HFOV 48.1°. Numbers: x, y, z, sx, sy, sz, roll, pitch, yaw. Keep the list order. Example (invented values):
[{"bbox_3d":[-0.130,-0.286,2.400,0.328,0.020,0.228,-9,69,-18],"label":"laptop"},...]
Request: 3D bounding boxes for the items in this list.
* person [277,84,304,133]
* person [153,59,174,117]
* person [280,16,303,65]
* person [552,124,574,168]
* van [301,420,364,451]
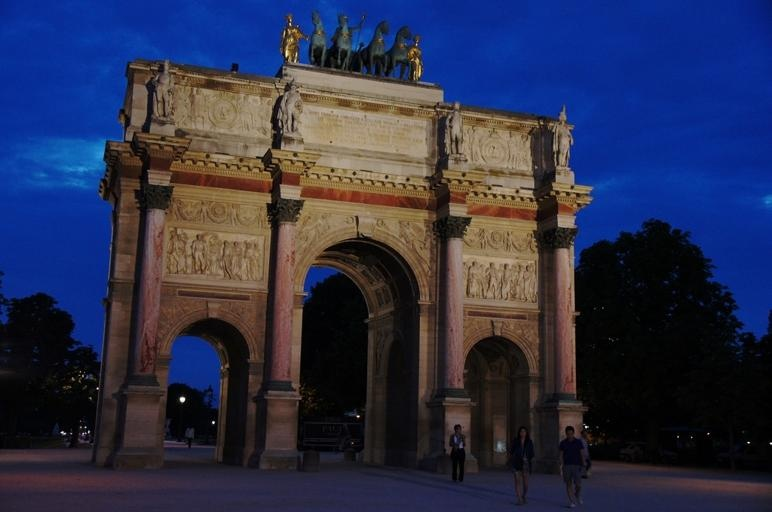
[{"bbox_3d":[-5.216,-8.019,47.030,1.251,3.404,0.751,3,-15,-2],"label":"person"},{"bbox_3d":[-11.699,-8.741,45.760,1.002,3.352,0.447,8,-16,-20],"label":"person"},{"bbox_3d":[-5.467,-12.561,49.973,1.111,3.224,0.505,5,-15,-7],"label":"person"},{"bbox_3d":[10.276,-6.467,50.457,1.049,2.983,0.652,3,-15,-2],"label":"person"},{"bbox_3d":[-4.175,14.491,69.228,4.964,2.484,2.696,-9,-19,36],"label":"van"}]
